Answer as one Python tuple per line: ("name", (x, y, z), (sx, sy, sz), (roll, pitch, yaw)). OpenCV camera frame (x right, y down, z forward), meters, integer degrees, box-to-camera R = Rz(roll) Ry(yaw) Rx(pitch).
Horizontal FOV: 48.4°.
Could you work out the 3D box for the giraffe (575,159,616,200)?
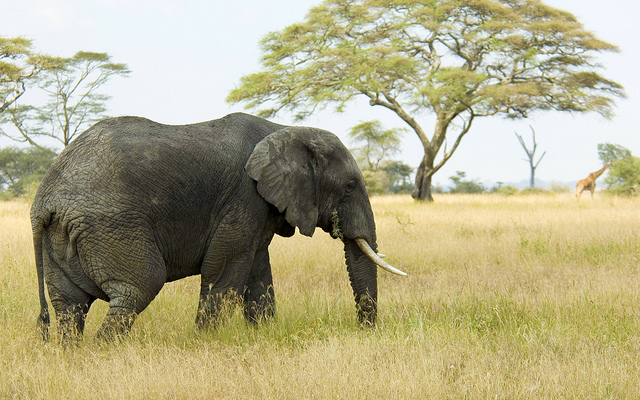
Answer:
("giraffe", (11.054, -0.637, 28.831), (1.984, 1.290, 0.499), (-13, 18, -16))
